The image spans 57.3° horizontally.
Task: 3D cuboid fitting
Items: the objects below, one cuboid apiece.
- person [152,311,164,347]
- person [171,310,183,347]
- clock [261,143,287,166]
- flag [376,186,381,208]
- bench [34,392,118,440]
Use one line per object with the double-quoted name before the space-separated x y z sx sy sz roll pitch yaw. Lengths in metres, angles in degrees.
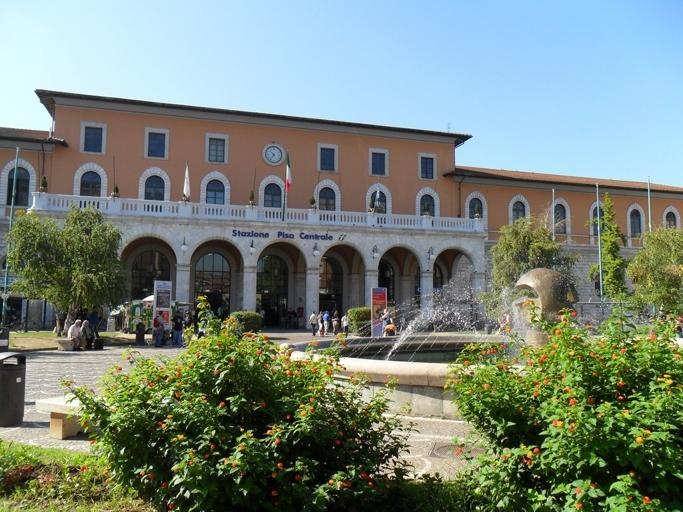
"person" -7.454 2.941 25.376 0.481 1.406 1.336 3 -8 -17
"person" -6.729 2.955 25.400 0.436 1.385 1.572 2 -8 -15
"clock" -4.141 -5.980 36.924 1.154 1.322 0.125 -4 -4 -29
"flag" 2.231 -3.562 38.444 0.314 1.194 0.824 -2 -8 15
"bench" -4.203 2.440 9.416 0.528 0.606 0.996 7 -10 -41
